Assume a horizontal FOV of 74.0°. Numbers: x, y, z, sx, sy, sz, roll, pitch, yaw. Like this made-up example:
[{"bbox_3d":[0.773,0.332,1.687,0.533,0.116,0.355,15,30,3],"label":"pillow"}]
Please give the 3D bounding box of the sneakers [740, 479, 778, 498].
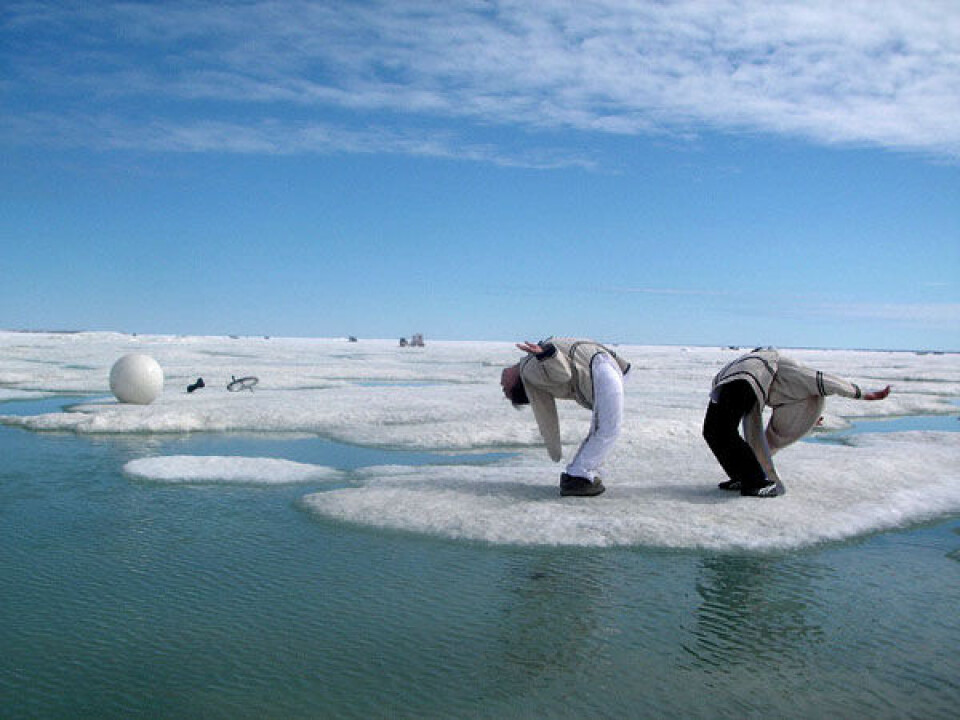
[{"bbox_3d":[3.671,1.738,8.515,0.556,0.150,0.177,2,1,4],"label":"sneakers"}]
